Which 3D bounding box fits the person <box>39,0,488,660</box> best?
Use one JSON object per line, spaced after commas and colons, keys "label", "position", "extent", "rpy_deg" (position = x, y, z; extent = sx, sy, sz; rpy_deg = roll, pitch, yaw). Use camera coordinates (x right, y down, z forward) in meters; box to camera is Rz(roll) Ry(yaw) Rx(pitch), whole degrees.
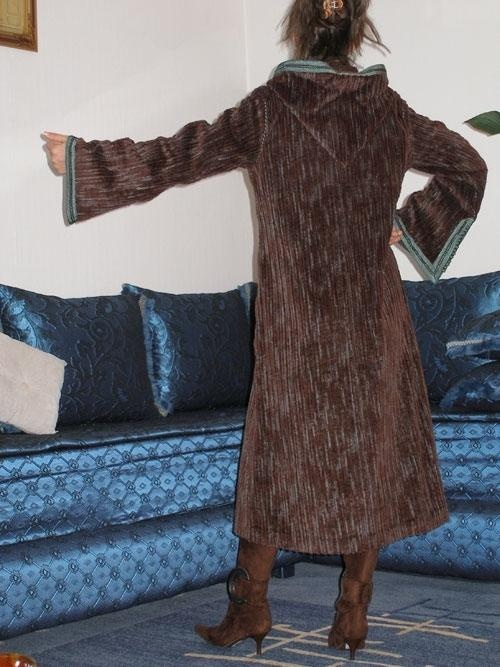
{"label": "person", "position": [0.102, -0.059, 1.230], "extent": [0.797, 0.854, 0.414], "rpy_deg": [-5, 16, -26]}

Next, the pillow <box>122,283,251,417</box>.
{"label": "pillow", "position": [-0.234, 0.031, 2.406], "extent": [0.089, 0.469, 0.761], "rpy_deg": [-8, -7, 39]}
